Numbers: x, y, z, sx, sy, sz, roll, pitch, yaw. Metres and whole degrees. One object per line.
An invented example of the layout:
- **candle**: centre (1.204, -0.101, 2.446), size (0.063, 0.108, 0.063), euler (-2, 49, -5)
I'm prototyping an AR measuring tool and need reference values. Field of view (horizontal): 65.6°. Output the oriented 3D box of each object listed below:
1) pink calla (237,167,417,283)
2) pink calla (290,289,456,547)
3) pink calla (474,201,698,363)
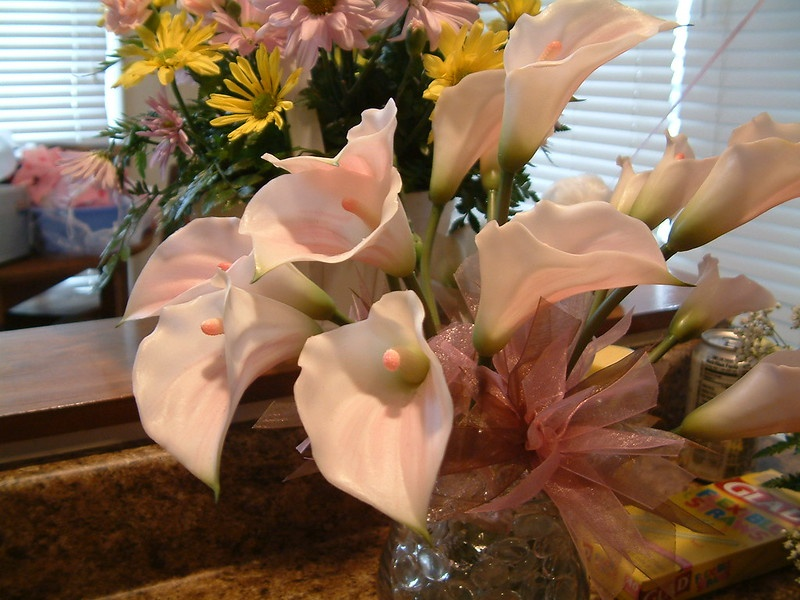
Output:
- **pink calla**: centre (-0.042, -0.040, 0.372), size (0.106, 0.076, 0.083), euler (10, 27, -1)
- **pink calla**: centre (-0.011, 0.048, 0.345), size (0.115, 0.083, 0.083), euler (23, 29, 24)
- **pink calla**: centre (0.111, -0.005, 0.379), size (0.126, 0.111, 0.076), euler (-10, 33, -35)
